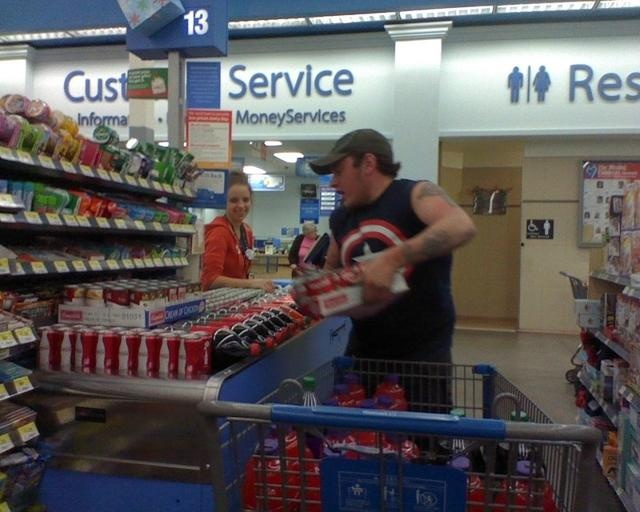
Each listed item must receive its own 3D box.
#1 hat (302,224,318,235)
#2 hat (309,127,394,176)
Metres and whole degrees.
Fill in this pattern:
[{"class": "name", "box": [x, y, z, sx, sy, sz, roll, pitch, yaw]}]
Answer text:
[{"class": "hat", "box": [-0.178, -0.467, 8.668, 0.229, 0.184, 0.221, -11, -47, 15]}, {"class": "hat", "box": [0.151, -0.467, 2.410, 0.327, 0.168, 0.211, 3, 6, 1]}]
